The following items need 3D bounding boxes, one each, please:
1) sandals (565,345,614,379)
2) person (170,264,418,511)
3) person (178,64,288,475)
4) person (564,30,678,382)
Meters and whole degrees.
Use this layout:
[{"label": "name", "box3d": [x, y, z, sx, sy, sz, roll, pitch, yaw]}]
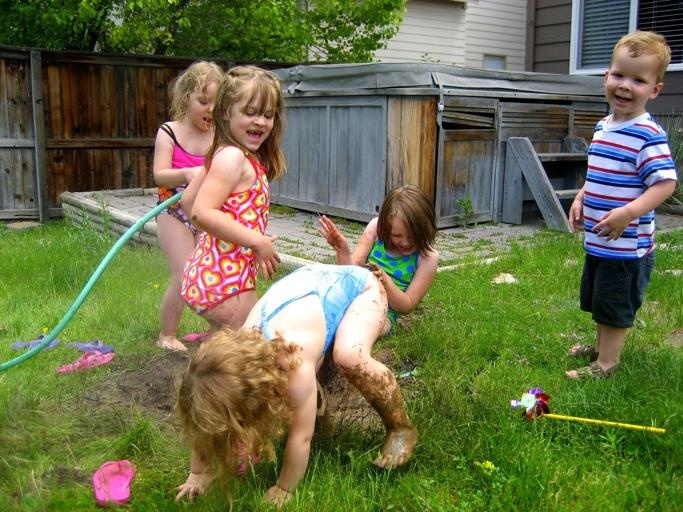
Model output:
[{"label": "sandals", "box3d": [1.386, 0.588, 3.557, 0.160, 0.045, 0.177, -2, 23, 11]}, {"label": "person", "box3d": [-0.131, 0.515, 2.807, 0.717, 0.684, 1.081, -14, 1, 29]}, {"label": "person", "box3d": [-0.588, 0.015, 3.345, 0.663, 1.918, 0.576, 8, 18, 35]}, {"label": "person", "box3d": [1.554, -0.289, 3.536, 0.512, 1.878, 0.567, 4, 12, 18]}]
